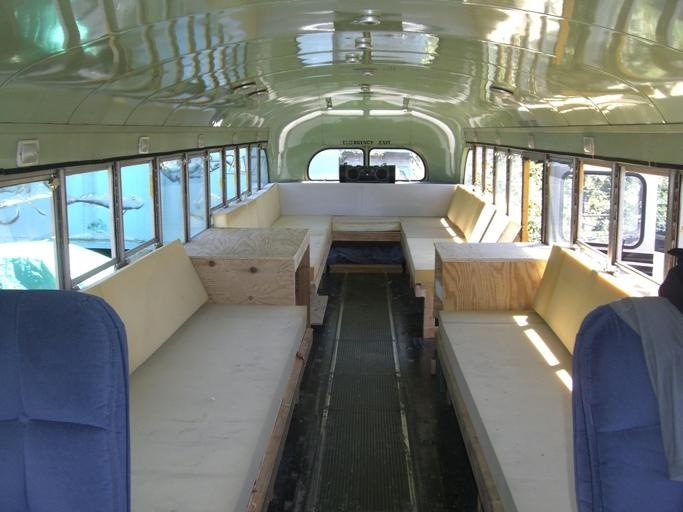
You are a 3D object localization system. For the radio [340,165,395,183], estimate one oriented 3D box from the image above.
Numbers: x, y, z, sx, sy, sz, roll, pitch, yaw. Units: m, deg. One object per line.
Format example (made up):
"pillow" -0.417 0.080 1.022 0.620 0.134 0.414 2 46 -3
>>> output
"radio" 0.533 -1.731 10.061 1.146 0.359 0.241 -1 11 -10
